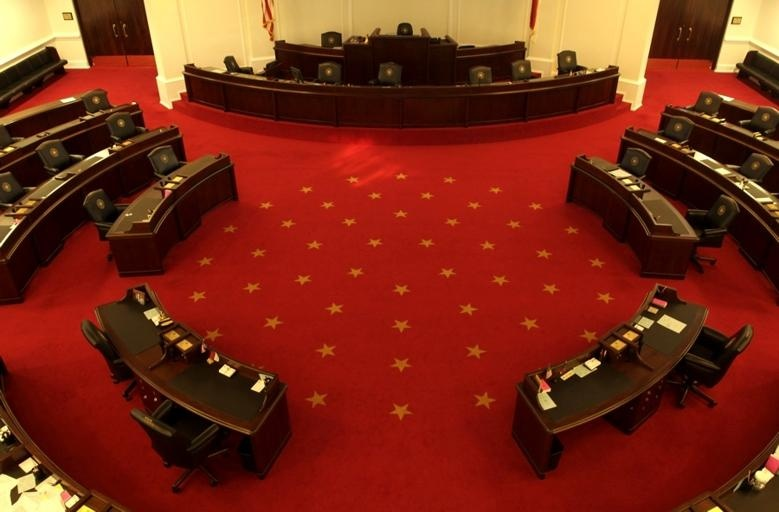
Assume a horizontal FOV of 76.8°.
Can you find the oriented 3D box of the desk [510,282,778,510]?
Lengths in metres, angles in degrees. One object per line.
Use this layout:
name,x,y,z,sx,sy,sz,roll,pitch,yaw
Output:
desk,3.106,1.556,7.035,4.097,1.650,1.969,-35,48,-22
